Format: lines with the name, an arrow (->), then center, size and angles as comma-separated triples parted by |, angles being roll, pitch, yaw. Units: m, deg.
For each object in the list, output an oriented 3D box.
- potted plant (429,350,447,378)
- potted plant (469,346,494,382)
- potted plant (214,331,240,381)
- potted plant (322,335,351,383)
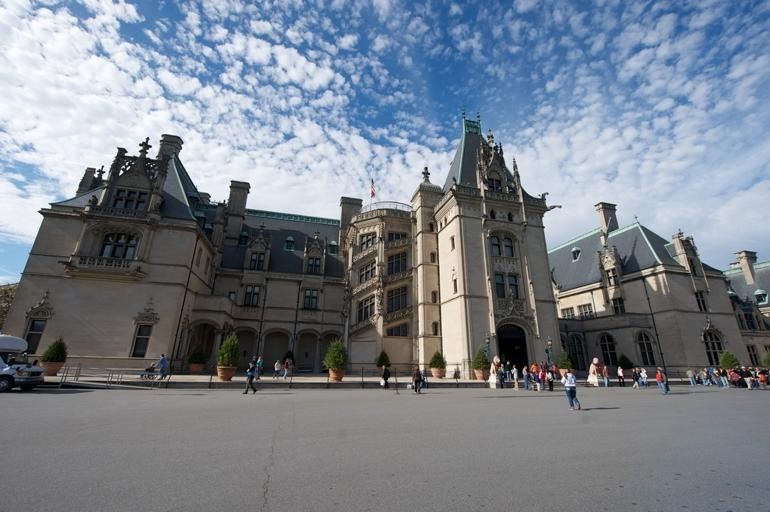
potted plant -> 4.809, 9.730, 31.805 | 1.198, 2.286, 1.089 | -1, -15, 10
potted plant -> 8.119, 8.924, 29.333 | 1.407, 2.513, 1.844 | -2, -15, 13
potted plant -> -11.352, 7.251, 25.395 | 1.331, 3.189, 1.629 | 7, -16, -22
potted plant -> -3.706, 7.763, 26.574 | 1.428, 2.992, 2.034 | 4, -15, -11
